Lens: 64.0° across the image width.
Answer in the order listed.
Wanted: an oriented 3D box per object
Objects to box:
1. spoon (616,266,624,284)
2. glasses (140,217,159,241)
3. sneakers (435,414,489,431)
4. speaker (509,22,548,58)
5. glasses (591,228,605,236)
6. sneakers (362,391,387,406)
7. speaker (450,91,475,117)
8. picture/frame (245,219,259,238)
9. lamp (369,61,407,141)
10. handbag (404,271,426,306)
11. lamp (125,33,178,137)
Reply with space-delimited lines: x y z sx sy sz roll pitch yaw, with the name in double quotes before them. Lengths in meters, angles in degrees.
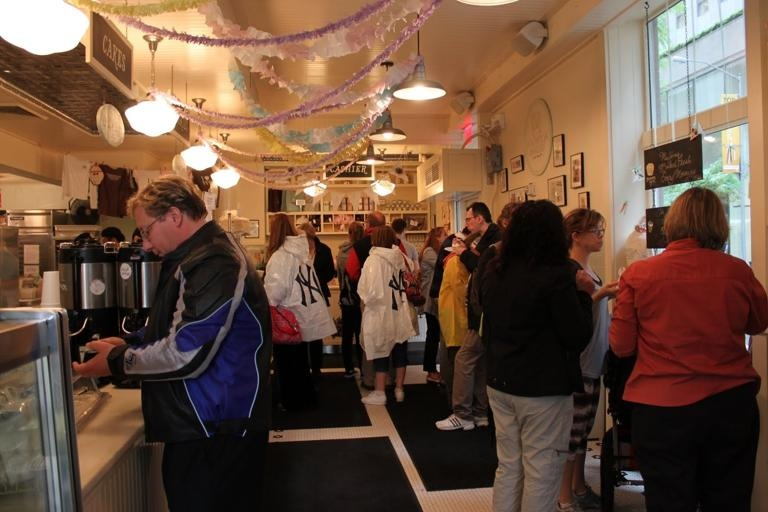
"spoon" 1.695 0.135 4.491 0.037 0.106 0.084 22 -7 6
"glasses" -1.178 -0.133 3.093 0.031 0.098 0.096 28 -35 -31
"sneakers" 0.632 1.393 5.232 0.440 0.192 0.157 3 -7 -7
"speaker" 1.329 -2.064 5.785 0.278 0.311 0.276 -2 9 -10
"glasses" 1.372 -0.161 4.019 0.062 0.019 0.064 -3 -7 -37
"sneakers" -0.094 1.330 5.773 0.222 0.115 0.112 3 -6 8
"speaker" 0.992 -1.969 7.888 0.286 0.227 0.310 -41 -8 3
"picture/frame" -2.318 -0.494 10.912 0.301 0.380 0.412 0 -1 1
"lamp" 0.008 -1.714 6.797 0.499 0.823 0.515 20 29 40
"handbag" 0.282 0.320 6.030 0.154 0.374 0.317 -13 -12 28
"lamp" -1.843 -1.391 4.884 0.356 0.853 1.106 -4 10 -19
